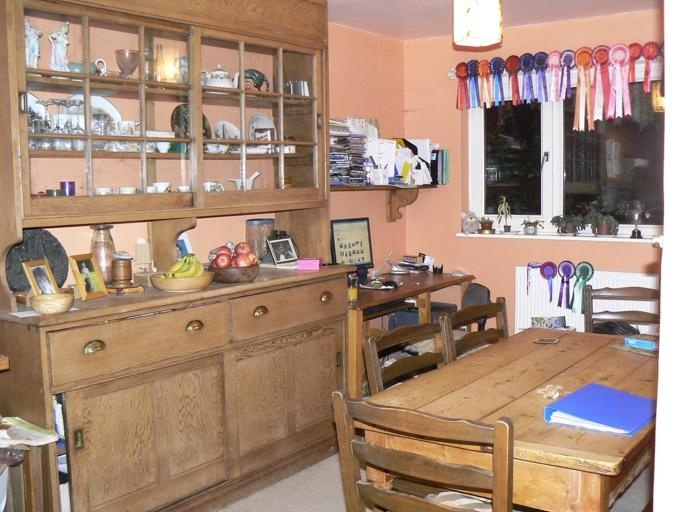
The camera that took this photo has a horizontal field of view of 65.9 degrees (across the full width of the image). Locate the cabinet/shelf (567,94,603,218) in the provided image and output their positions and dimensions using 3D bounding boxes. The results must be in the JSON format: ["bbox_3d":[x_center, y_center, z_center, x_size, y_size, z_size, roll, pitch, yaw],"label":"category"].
[{"bbox_3d":[2.007,-0.863,4.402,0.286,0.711,0.086,-6,11,9],"label":"cabinet/shelf"}]

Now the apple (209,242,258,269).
[{"bbox_3d":[-0.574,0.014,2.917,0.188,0.098,0.210,0,1,17],"label":"apple"}]

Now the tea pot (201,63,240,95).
[{"bbox_3d":[-0.662,-0.966,2.863,0.178,0.117,0.131,-7,15,-23],"label":"tea pot"}]

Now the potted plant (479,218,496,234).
[{"bbox_3d":[1.277,-0.264,4.715,0.140,0.150,0.135,-1,1,-15],"label":"potted plant"}]

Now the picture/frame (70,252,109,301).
[{"bbox_3d":[-1.208,0.104,2.512,0.026,0.256,0.206,-23,-4,31],"label":"picture/frame"}]

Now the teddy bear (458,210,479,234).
[{"bbox_3d":[1.166,-0.292,4.748,0.173,0.198,0.181,6,11,42],"label":"teddy bear"}]

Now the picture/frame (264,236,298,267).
[{"bbox_3d":[-0.382,-0.028,3.328,0.045,0.175,0.192,-26,-7,42],"label":"picture/frame"}]

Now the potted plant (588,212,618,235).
[{"bbox_3d":[2.105,-0.251,4.214,0.183,0.126,0.182,0,2,8],"label":"potted plant"}]

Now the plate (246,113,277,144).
[{"bbox_3d":[-0.470,-0.745,3.091,0.042,0.155,0.158,4,5,42],"label":"plate"}]

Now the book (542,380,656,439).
[{"bbox_3d":[0.882,0.510,1.769,0.341,0.061,0.303,-17,6,-14],"label":"book"}]

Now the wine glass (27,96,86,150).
[{"bbox_3d":[-1.263,-0.580,2.302,0.089,0.253,0.279,1,2,32],"label":"wine glass"}]

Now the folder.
[{"bbox_3d":[0.848,0.511,1.732,0.277,0.064,0.286,7,13,41],"label":"folder"}]

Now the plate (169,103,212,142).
[{"bbox_3d":[-0.827,-0.690,2.728,0.176,0.173,0.046,-3,8,-39],"label":"plate"}]

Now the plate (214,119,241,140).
[{"bbox_3d":[-0.641,-0.694,2.910,0.119,0.115,0.088,-2,11,-10],"label":"plate"}]

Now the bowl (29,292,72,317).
[{"bbox_3d":[-1.236,0.200,2.243,0.156,0.073,0.204,-6,9,-31],"label":"bowl"}]

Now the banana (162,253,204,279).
[{"bbox_3d":[-0.804,0.066,2.686,0.114,0.077,0.179,20,28,21],"label":"banana"}]

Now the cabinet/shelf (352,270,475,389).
[{"bbox_3d":[0.571,0.774,4.388,0.793,1.013,1.525,-9,-9,0],"label":"cabinet/shelf"}]

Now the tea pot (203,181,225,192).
[{"bbox_3d":[-0.703,-0.377,2.875,0.055,0.052,0.075,-3,4,-30],"label":"tea pot"}]

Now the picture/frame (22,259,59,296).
[{"bbox_3d":[-1.377,0.103,2.382,0.096,0.173,0.135,-6,7,29],"label":"picture/frame"}]

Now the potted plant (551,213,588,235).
[{"bbox_3d":[1.899,-0.251,4.369,0.271,0.161,0.126,-3,8,-11],"label":"potted plant"}]

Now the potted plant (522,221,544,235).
[{"bbox_3d":[1.642,-0.240,4.529,0.141,0.109,0.180,2,9,25],"label":"potted plant"}]

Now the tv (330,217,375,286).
[{"bbox_3d":[0.068,-0.029,3.966,0.159,0.408,0.465,-7,-14,31],"label":"tv"}]
